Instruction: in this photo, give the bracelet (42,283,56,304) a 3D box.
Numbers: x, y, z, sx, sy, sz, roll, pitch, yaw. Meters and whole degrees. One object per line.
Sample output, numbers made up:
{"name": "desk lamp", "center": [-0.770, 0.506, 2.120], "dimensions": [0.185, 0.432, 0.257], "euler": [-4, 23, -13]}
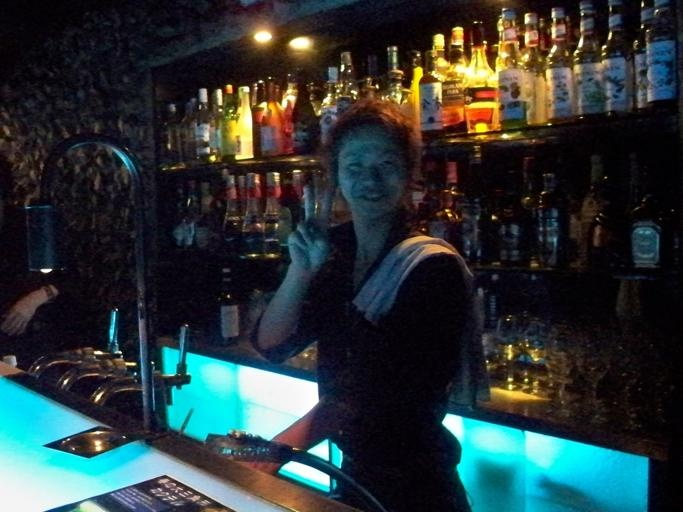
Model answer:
{"name": "bracelet", "center": [-1.258, 0.156, 2.789], "dimensions": [0.066, 0.057, 0.076], "euler": [-9, 8, -25]}
